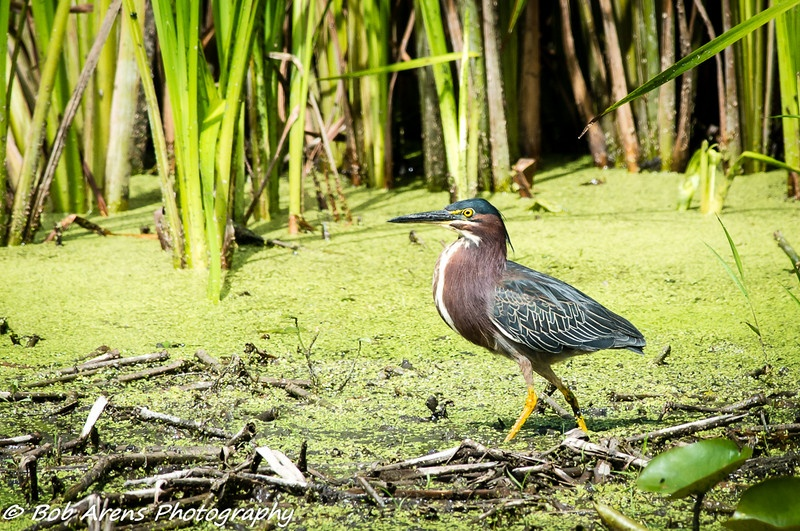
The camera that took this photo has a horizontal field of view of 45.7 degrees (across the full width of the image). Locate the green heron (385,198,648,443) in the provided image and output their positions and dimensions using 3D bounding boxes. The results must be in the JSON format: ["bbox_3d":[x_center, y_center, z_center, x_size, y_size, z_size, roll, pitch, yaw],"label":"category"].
[{"bbox_3d":[0.660,0.281,5.075,1.456,1.261,0.590,-4,7,-22],"label":"green heron"}]
